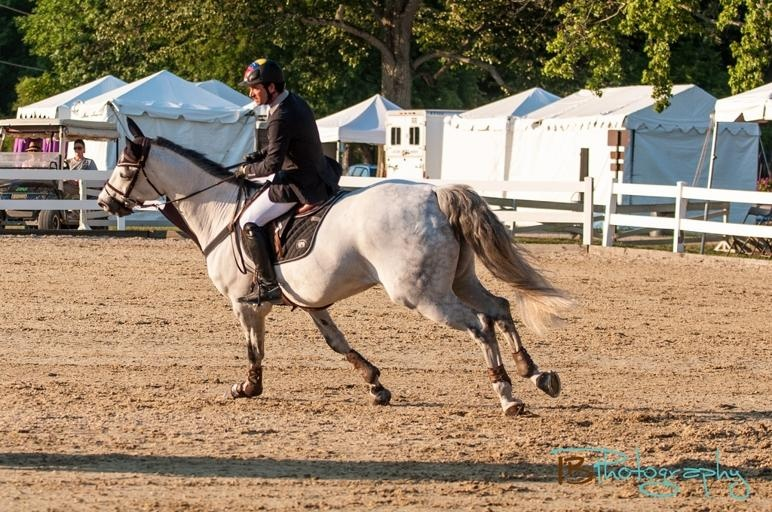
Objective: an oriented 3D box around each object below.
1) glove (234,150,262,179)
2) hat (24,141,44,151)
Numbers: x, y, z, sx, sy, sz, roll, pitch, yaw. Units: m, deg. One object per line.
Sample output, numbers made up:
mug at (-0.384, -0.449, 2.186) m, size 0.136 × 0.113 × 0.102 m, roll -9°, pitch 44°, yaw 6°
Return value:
glove at (-2.685, -1.747, 30.678) m, size 0.580 × 0.198 × 0.442 m, roll -37°, pitch 23°, yaw 11°
hat at (-10.497, -3.229, 45.796) m, size 0.543 × 0.297 × 0.597 m, roll 0°, pitch -4°, yaw -10°
